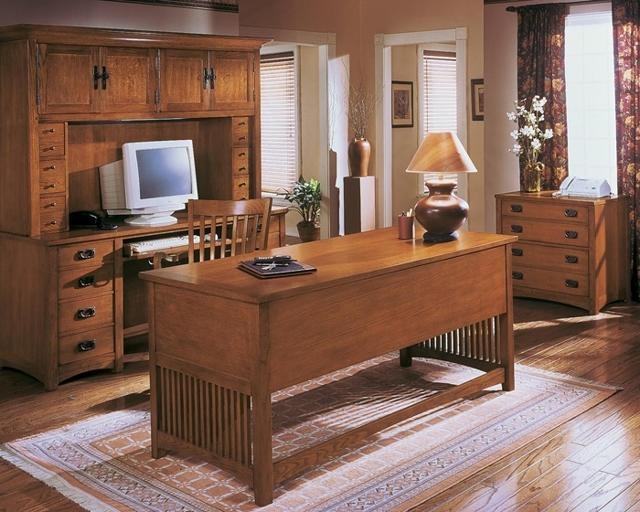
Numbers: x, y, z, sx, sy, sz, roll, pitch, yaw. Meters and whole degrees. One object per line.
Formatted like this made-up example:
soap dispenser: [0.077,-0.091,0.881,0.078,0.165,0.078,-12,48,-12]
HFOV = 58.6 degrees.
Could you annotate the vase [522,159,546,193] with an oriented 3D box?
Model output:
vase: [2.024,-0.761,5.431,0.202,0.291,0.333,2,11,19]

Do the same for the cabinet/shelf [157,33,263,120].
cabinet/shelf: [-0.970,-1.433,4.490,0.354,0.537,1.088,16,24,30]

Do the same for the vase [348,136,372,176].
vase: [0.456,-1.185,6.828,0.282,0.460,0.196,2,13,19]

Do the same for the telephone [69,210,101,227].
telephone: [-1.598,-0.256,3.900,0.218,0.049,0.099,-1,29,-2]

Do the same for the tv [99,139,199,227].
tv: [-1.341,-0.571,4.390,0.516,0.483,0.669,7,13,33]

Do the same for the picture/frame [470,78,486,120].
picture/frame: [1.712,-1.710,6.208,0.050,0.453,0.170,-14,17,-41]

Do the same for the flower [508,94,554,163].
flower: [2.030,-1.226,5.499,0.421,0.654,0.740,1,11,16]

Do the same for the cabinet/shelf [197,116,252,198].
cabinet/shelf: [-0.780,-0.822,4.798,0.422,0.669,0.281,8,16,40]

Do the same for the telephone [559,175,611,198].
telephone: [2.303,-0.600,4.962,0.412,0.170,0.254,3,11,21]

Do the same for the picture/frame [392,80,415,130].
picture/frame: [1.114,-2.067,7.733,0.156,0.629,0.472,10,17,44]

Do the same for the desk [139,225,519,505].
desk: [0.091,0.547,2.722,1.480,0.496,0.558,-8,13,-40]

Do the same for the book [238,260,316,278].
book: [-0.204,0.049,2.601,0.287,0.044,0.322,-5,10,-23]

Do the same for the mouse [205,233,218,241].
mouse: [-0.736,-0.131,3.894,0.074,0.072,0.044,2,21,5]
